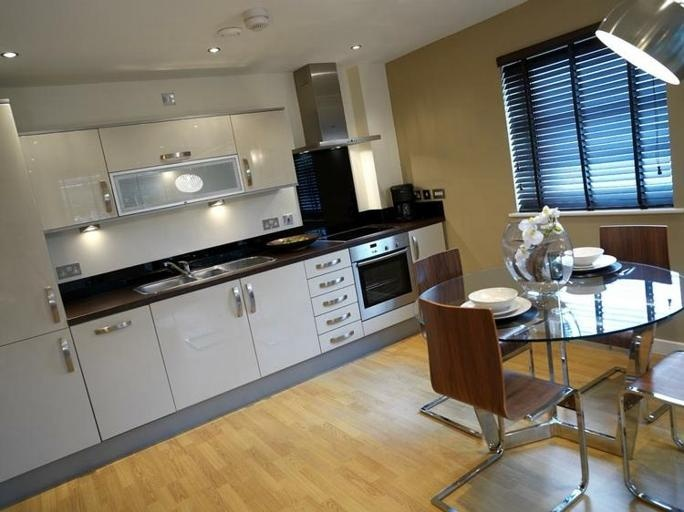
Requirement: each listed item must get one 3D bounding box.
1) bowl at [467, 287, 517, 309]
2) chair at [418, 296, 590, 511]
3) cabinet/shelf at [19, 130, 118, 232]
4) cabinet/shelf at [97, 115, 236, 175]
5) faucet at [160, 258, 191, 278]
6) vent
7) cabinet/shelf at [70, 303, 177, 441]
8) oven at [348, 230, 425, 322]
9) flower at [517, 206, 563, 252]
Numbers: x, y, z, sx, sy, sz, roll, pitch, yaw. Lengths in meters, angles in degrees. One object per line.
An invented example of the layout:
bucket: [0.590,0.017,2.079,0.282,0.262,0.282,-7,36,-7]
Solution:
bowl: [0.887,0.237,2.759,0.155,0.043,0.155,-6,14,1]
chair: [0.894,0.783,2.573,0.760,1.181,0.395,-8,11,-5]
cabinet/shelf: [-2.234,-0.527,3.737,0.571,0.777,0.621,-17,-1,28]
cabinet/shelf: [-1.395,-1.060,4.486,1.162,0.276,1.037,-12,15,10]
faucet: [-1.524,0.112,4.228,0.229,0.087,0.062,23,38,27]
vent: [-0.241,-1.524,4.927,0.957,0.877,1.020,-16,14,-19]
cabinet/shelf: [-1.881,0.932,3.993,0.861,0.864,1.132,-1,20,-20]
oven: [0.293,0.245,4.860,0.750,0.850,0.568,-17,11,-33]
flower: [1.144,-0.164,2.728,0.240,0.242,0.096,38,18,10]
